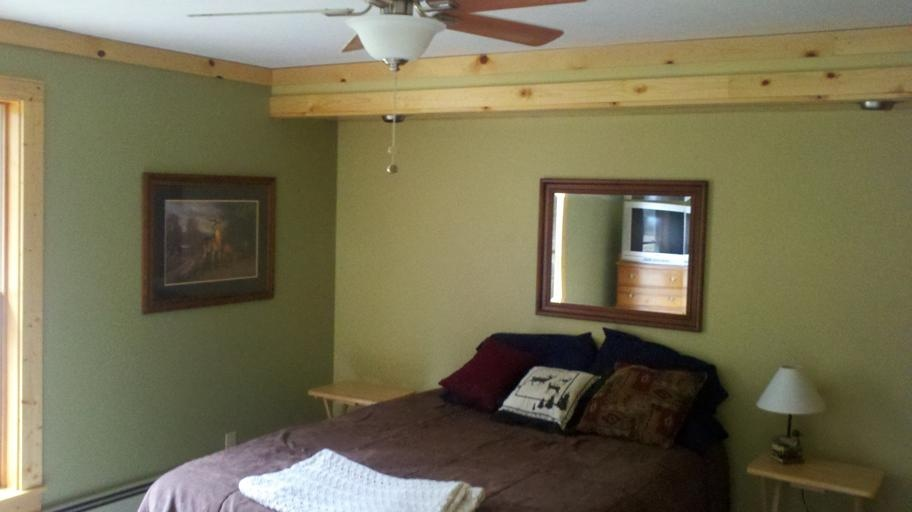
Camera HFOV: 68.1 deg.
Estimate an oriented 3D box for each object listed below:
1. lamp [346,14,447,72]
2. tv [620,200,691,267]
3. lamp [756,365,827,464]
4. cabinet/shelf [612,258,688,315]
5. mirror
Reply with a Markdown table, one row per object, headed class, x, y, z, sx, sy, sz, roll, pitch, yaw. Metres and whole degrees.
| class | x | y | z | sx | sy | sz | roll | pitch | yaw |
| --- | --- | --- | --- | --- | --- | --- | --- | --- | --- |
| lamp | -0.353 | -1.255 | 3.930 | 0.561 | 0.283 | 0.180 | 1 | 6 | -1 |
| tv | 1.754 | -0.206 | 5.850 | 0.612 | 0.440 | 0.317 | 4 | 9 | 27 |
| lamp | 2.637 | 1.236 | 5.352 | 0.466 | 0.749 | 0.386 | 4 | 7 | 22 |
| cabinet/shelf | 1.760 | 0.187 | 6.073 | 0.782 | 0.498 | 0.458 | 2 | 3 | 25 |
| mirror | 1.521 | -0.033 | 5.933 | 1.590 | 1.174 | 0.097 | 4 | 6 | 23 |
